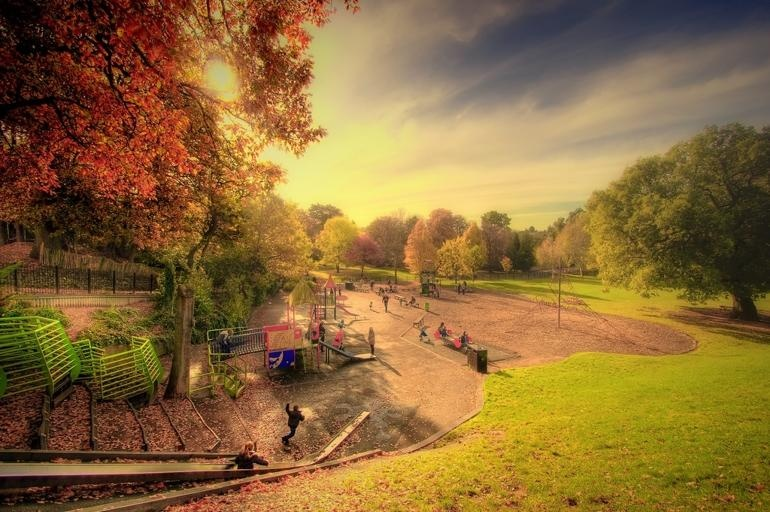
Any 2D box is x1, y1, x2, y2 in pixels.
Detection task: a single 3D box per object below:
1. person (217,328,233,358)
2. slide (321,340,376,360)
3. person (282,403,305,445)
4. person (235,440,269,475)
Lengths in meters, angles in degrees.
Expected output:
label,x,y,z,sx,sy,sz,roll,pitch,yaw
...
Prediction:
label,x,y,z,sx,sy,sz,roll,pitch,yaw
person,-9.110,4.945,28.531,0.825,1.587,2.686,1,-4,-18
slide,-2.187,5.797,31.202,3.238,1.093,2.337,0,-4,-5
person,-4.198,7.426,22.749,0.877,1.715,1.307,0,-3,-12
person,-5.401,7.875,20.030,1.164,1.104,0.594,1,-3,-18
